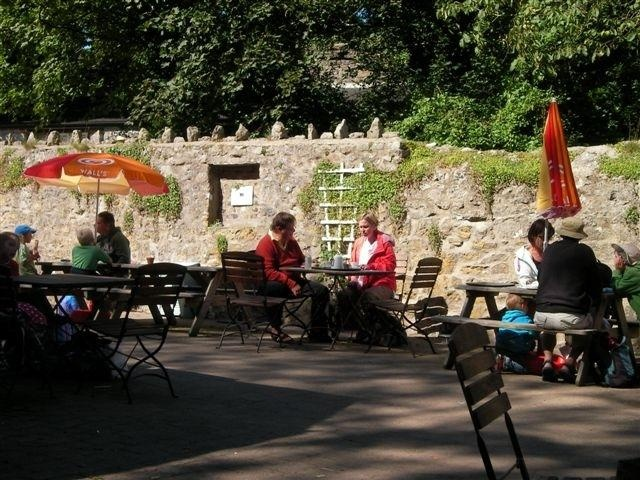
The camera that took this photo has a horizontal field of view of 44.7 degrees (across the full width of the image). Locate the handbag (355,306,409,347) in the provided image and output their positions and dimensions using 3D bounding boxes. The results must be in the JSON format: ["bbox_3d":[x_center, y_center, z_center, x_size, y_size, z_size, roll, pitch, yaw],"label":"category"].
[{"bbox_3d":[0.870,1.230,11.061,0.771,0.700,1.023,4,-20,0],"label":"handbag"}]

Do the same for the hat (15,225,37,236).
[{"bbox_3d":[-4.709,-0.163,12.507,0.344,0.157,0.230,-1,9,-28],"label":"hat"}]

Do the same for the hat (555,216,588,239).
[{"bbox_3d":[2.794,-0.131,8.645,0.295,0.135,0.245,-8,16,-40],"label":"hat"}]

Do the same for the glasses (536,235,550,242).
[{"bbox_3d":[2.664,-0.016,9.370,0.087,0.039,0.115,4,-5,-44],"label":"glasses"}]

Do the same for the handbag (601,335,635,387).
[{"bbox_3d":[3.230,1.347,8.516,0.524,0.582,0.345,4,-12,3],"label":"handbag"}]

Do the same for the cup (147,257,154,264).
[{"bbox_3d":[-2.555,0.314,11.678,0.134,0.087,0.124,0,0,0],"label":"cup"}]

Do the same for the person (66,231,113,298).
[{"bbox_3d":[-3.180,0.248,10.694,0.552,0.772,0.436,-11,17,-36],"label":"person"}]

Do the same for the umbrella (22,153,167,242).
[{"bbox_3d":[-3.226,-0.733,11.347,1.763,1.060,1.798,1,2,34],"label":"umbrella"}]
